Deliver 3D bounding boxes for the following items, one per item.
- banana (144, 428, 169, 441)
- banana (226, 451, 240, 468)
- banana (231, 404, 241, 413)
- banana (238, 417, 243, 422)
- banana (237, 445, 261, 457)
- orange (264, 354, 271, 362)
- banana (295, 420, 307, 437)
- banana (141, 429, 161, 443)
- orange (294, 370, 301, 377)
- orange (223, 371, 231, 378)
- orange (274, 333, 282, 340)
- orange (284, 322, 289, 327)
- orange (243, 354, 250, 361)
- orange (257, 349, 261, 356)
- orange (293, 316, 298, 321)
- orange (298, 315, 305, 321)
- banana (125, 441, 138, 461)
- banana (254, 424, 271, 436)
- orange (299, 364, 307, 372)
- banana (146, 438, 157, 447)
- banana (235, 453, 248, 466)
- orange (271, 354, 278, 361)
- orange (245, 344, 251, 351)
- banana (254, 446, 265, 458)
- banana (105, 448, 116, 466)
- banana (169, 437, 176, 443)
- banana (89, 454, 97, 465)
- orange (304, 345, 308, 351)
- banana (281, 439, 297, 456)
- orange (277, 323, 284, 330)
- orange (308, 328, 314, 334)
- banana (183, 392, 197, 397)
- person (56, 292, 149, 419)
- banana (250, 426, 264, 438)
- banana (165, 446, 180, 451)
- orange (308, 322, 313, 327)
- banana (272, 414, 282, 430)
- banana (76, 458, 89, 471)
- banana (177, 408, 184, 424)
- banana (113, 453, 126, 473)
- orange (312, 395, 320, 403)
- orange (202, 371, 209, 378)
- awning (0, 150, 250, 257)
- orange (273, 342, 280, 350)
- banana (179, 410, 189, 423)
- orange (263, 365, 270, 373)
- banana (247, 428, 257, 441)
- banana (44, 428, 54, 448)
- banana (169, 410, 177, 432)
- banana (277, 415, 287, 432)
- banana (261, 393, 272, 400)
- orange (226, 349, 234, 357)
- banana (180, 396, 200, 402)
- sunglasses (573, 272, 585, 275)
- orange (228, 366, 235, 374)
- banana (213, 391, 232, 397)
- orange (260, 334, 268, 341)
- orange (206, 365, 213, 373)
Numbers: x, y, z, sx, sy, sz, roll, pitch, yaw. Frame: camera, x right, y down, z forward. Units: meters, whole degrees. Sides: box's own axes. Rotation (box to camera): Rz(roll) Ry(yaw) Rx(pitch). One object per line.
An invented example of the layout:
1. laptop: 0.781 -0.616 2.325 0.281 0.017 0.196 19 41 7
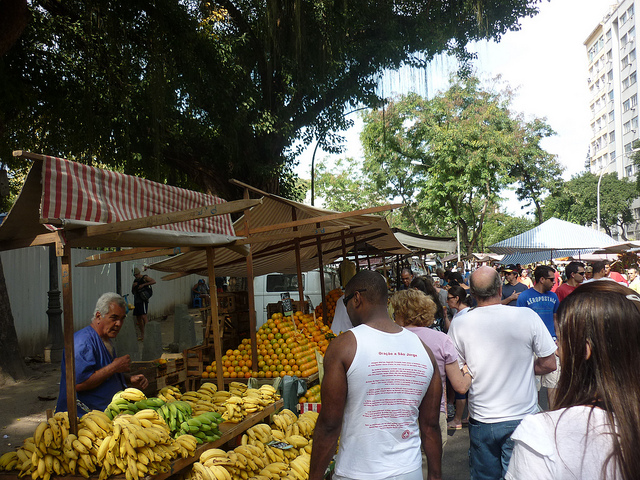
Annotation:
1. banana: -1.309 1.553 4.397 0.153 0.054 0.043 26 17 6
2. banana: -0.789 2.013 5.091 0.055 0.062 0.205 15 -18 22
3. banana: -0.803 1.638 5.360 0.047 0.080 0.018 -34 -2 -33
4. banana: -0.769 1.738 5.345 0.038 0.039 0.033 1 11 -3
5. banana: -0.705 2.079 5.459 0.073 0.099 0.299 20 -18 31
6. orange: -0.727 1.600 7.516 0.057 0.076 0.063 -3 -13 2
7. banana: -0.206 2.172 6.392 0.074 0.221 0.062 -42 -20 4
8. banana: -1.328 1.543 4.362 0.157 0.054 0.047 26 33 26
9. orange: -0.296 1.756 7.282 0.060 0.069 0.063 -8 20 -14
10. orange: -1.250 1.805 7.396 0.061 0.086 0.067 1 4 7
11. orange: -0.588 1.341 7.713 0.071 0.060 0.055 9 -27 -39
12. orange: -0.492 1.219 7.985 0.045 0.049 0.047 -24 -29 16
13. orange: -1.009 1.600 7.512 0.061 0.068 0.081 11 -36 -4
14. orange: -0.841 1.546 7.598 0.042 0.083 0.072 -1 -4 -6
15. orange: -0.379 1.188 8.417 0.043 0.040 0.042 5 -49 9
16. orange: -0.307 1.193 8.454 0.061 0.070 0.067 1 -19 -3
17. banana: -1.453 1.626 4.246 0.048 0.175 0.054 -27 -10 33
18. banana: -0.610 2.041 5.946 0.120 0.038 0.095 34 -17 -8
19. orange: -0.238 1.697 7.357 0.070 0.075 0.086 -33 28 7
20. banana: -1.327 1.611 4.361 0.028 0.091 0.031 -48 -10 -31
21. banana: -0.741 2.047 5.176 0.045 0.139 0.042 -40 -14 -9
22. orange: -0.624 1.582 7.508 0.064 0.069 0.074 27 -1 -19
23. orange: -0.991 1.472 7.565 0.060 0.070 0.070 5 -31 -18
24. banana: -0.611 2.140 5.573 0.029 0.171 0.044 -35 10 -40
25. banana: -1.623 1.691 4.285 0.046 0.135 0.045 -32 -35 -10
26. banana: -1.223 1.660 4.581 0.067 0.018 0.067 10 -3 -8
27. banana: -1.770 1.721 4.332 0.026 0.105 0.037 -32 -16 -10
28. orange: -0.209 1.528 7.831 0.053 0.063 0.058 -2 -7 4
29. banana: -0.342 2.261 5.993 0.165 0.185 0.159 -2 -4 0
30. orange: -0.572 1.234 7.863 0.070 0.076 0.071 22 -39 -35
31. orange: -0.141 1.376 8.421 0.054 0.062 0.068 -16 34 7
32. banana: -1.337 1.589 5.681 0.134 0.050 0.043 -1 -19 11
33. person: -2.029 1.073 5.183 0.613 1.181 0.635 4 6 -31
34. banana: -0.657 1.998 5.812 0.074 0.131 0.038 -31 -22 -49
35. banana: -1.200 1.705 4.523 0.025 0.047 0.114 -5 -6 38
36. orange: -0.148 1.317 8.605 0.050 0.068 0.135 -1 -5 -2
37. banana: -0.495 2.078 6.296 0.054 0.148 0.146 1 -5 -37
38. banana: -1.864 1.756 4.365 0.122 0.034 0.058 40 12 22
39. banana: -1.230 1.546 4.856 0.036 0.118 0.032 -8 -17 -43
40. banana: -1.547 1.734 4.277 0.102 0.136 0.029 -3 -4 20
41. orange: -0.043 2.080 7.232 0.075 0.084 0.080 2 -9 -4
42. orange: -1.512 1.765 7.278 0.063 0.070 0.067 22 38 9
43. awning: -1.869 -0.332 4.957 1.178 0.505 1.395 -4 -10 32
44. orange: -0.607 1.456 7.578 0.062 0.070 0.063 -6 16 -26
45. banana: -1.186 1.567 4.869 0.026 0.133 0.037 -32 6 3
46. orange: -0.730 1.736 7.431 0.063 0.082 0.071 -1 -29 6
47. banana: -0.714 2.021 5.749 0.057 0.126 0.045 -37 -4 -5
48. banana: -2.141 1.561 4.357 0.067 0.144 0.044 2 -13 14
49. banana: -1.275 1.571 4.772 0.041 0.148 0.046 -24 -12 37
50. banana: -0.425 2.088 6.311 0.067 0.205 0.053 -34 11 -4
51. banana: -0.563 1.681 5.925 0.068 0.045 0.025 39 -14 -18
52. orange: -1.246 1.564 7.650 0.091 0.085 0.080 2 -2 40
53. banana: -1.318 1.612 5.589 0.206 0.081 0.057 12 -5 -24
54. sunglasses: 3.828 0.493 8.173 0.181 0.032 0.065 2 -7 -34
55. orange: -1.198 1.745 7.432 0.057 0.073 0.056 20 -29 -35
56. banana: -1.024 1.613 5.796 0.193 0.036 0.176 0 -6 -15
57. orange: -0.786 1.365 7.747 0.059 0.062 0.065 31 -10 -39
58. orange: -1.489 1.722 7.366 0.129 0.080 0.074 -6 -6 38
